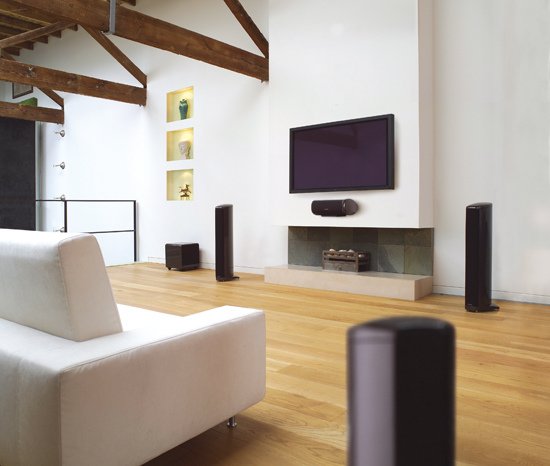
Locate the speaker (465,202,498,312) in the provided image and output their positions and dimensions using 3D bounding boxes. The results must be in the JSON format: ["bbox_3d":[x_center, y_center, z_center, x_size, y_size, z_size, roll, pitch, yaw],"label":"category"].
[{"bbox_3d":[1.762,0.201,3.865,0.339,0.901,0.203,-3,7,-19],"label":"speaker"}]

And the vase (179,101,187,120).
[{"bbox_3d":[-1.363,-1.840,6.821,0.133,0.308,0.101,-2,6,-6],"label":"vase"}]

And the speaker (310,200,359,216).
[{"bbox_3d":[0.608,-0.262,4.748,0.525,0.182,0.158,3,7,39],"label":"speaker"}]
